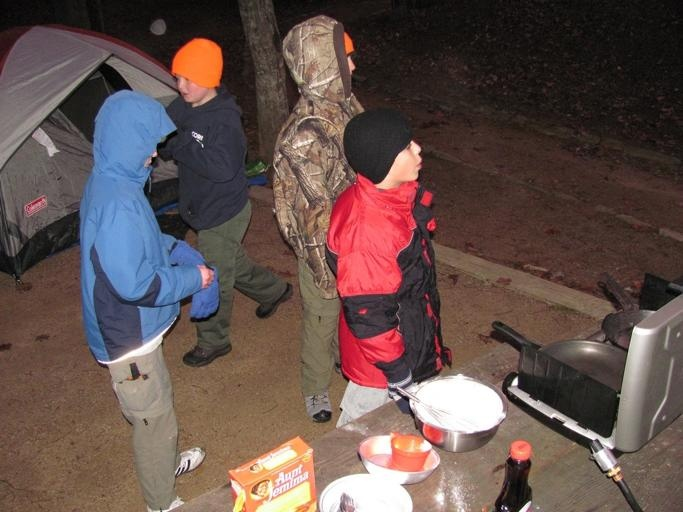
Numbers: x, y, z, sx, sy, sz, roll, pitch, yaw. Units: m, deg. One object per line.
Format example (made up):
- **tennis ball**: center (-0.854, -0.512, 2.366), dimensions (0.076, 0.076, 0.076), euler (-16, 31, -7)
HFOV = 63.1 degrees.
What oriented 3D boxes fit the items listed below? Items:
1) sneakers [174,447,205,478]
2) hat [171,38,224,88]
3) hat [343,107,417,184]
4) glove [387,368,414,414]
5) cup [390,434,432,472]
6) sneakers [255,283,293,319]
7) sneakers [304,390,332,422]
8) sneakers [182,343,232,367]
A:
- **sneakers**: center (-1.042, 1.399, 3.808), dimensions (0.089, 0.106, 0.262), euler (40, 45, 15)
- **hat**: center (-1.004, -1.362, 4.049), dimensions (0.414, 0.318, 0.326), euler (-15, 51, -27)
- **hat**: center (0.193, -0.516, 2.781), dimensions (0.370, 0.276, 0.351), euler (-17, 40, 16)
- **glove**: center (0.289, 0.656, 2.707), dimensions (0.163, 0.190, 0.105), euler (9, 3, 7)
- **cup**: center (0.294, 0.820, 2.362), dimensions (0.158, 0.092, 0.127), euler (6, 18, 17)
- **sneakers**: center (-0.641, 0.415, 5.220), dimensions (0.118, 0.149, 0.330), euler (37, 81, 31)
- **sneakers**: center (-0.177, 1.126, 4.173), dimensions (0.118, 0.139, 0.322), euler (-4, 5, -12)
- **sneakers**: center (-1.159, 0.857, 4.817), dimensions (0.382, 0.146, 0.168), euler (-10, 30, -24)
